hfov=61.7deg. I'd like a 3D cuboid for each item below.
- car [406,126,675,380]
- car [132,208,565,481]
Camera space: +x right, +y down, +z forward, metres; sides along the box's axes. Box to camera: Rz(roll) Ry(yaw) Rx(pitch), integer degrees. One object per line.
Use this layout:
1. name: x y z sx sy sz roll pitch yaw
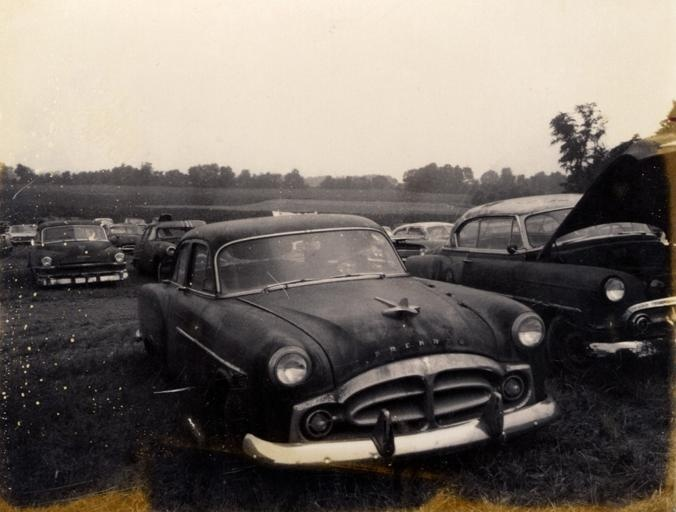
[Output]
1. car: 2.693 0.053 6.940 1.544 1.633 2.591 -3 4 -28
2. car: -0.263 0.724 5.127 1.869 1.149 3.006 -1 1 -25
